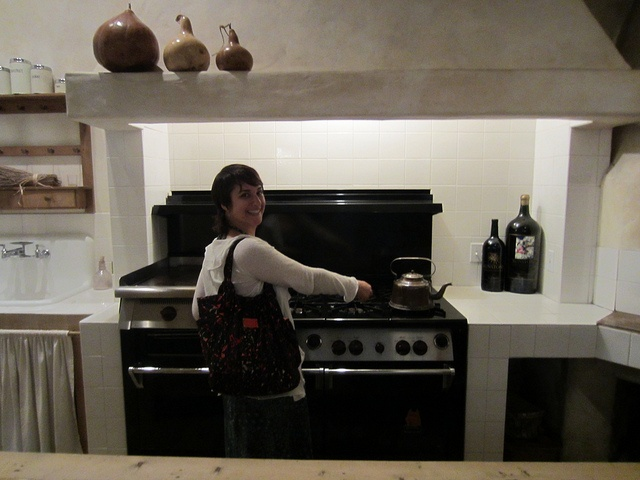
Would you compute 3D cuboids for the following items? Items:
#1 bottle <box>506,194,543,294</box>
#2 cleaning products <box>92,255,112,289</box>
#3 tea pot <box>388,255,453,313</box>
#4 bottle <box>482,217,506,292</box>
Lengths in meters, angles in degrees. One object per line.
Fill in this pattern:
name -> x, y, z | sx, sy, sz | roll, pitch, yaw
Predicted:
bottle -> 1.194, 0.033, 3.465 | 0.181, 0.582, 0.113 | 0, 1, 14
cleaning products -> -1.359, 0.213, 3.666 | 0.114, 0.201, 0.063 | 0, 1, -20
tea pot -> 0.489, 0.250, 3.181 | 0.381, 0.289, 0.250 | 0, 2, -11
bottle -> 1.045, 0.098, 3.532 | 0.136, 0.438, 0.161 | 0, 1, 16
